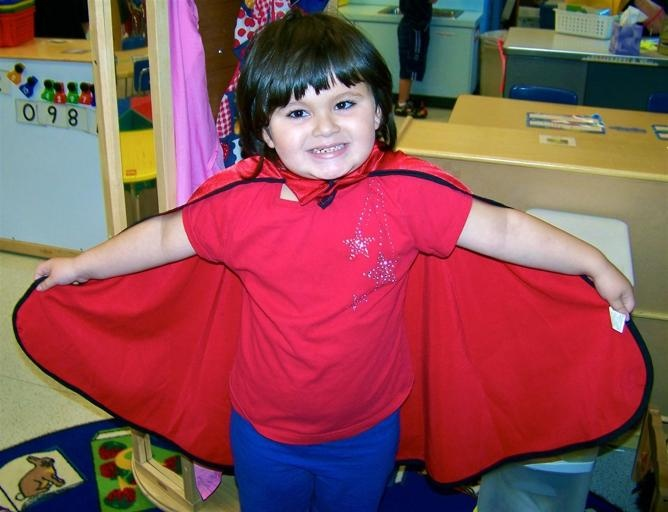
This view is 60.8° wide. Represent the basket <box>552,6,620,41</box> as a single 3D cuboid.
[{"bbox_3d":[2.120,-2.009,4.801,0.407,0.199,0.280,16,34,31],"label":"basket"}]
